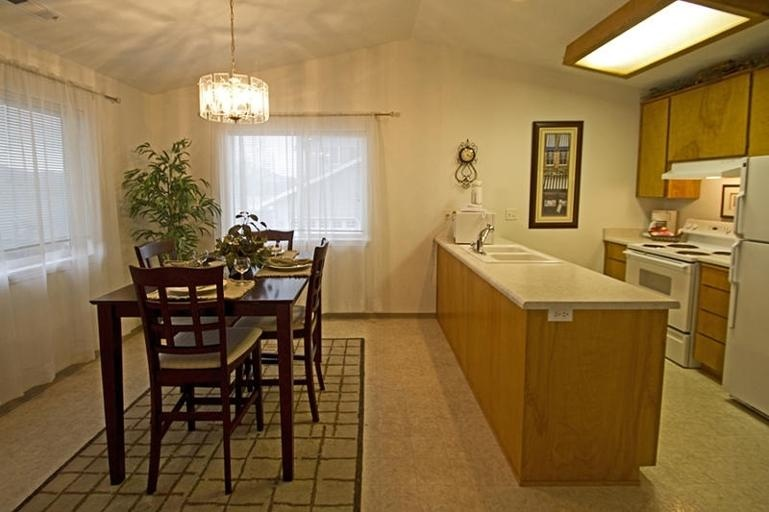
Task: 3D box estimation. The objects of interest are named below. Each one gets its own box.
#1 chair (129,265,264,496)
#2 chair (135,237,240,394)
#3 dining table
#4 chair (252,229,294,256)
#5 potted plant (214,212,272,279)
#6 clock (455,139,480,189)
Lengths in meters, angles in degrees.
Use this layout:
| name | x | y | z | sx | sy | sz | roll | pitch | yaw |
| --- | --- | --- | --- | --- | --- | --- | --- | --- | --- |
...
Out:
| name | x | y | z | sx | sy | sz | roll | pitch | yaw |
| --- | --- | --- | --- | --- | --- | --- | --- | --- | --- |
| chair | -1.373 | 0.773 | 3.986 | 0.808 | 1.570 | 0.959 | -2 | 9 | 0 |
| chair | -1.637 | 0.243 | 4.336 | 0.679 | 1.133 | 0.749 | 2 | 25 | -9 |
| dining table | -1.302 | 0.786 | 4.290 | 1.403 | 1.325 | 1.392 | 0 | 4 | 2 |
| chair | -1.117 | -0.142 | 5.480 | 0.260 | 0.437 | 0.289 | 1 | 2 | 6 |
| potted plant | -1.232 | -0.074 | 4.623 | 0.497 | 0.583 | 0.472 | 3 | -3 | -4 |
| clock | 0.979 | -1.118 | 6.438 | 0.279 | 0.590 | 0.074 | 0 | 9 | 10 |
